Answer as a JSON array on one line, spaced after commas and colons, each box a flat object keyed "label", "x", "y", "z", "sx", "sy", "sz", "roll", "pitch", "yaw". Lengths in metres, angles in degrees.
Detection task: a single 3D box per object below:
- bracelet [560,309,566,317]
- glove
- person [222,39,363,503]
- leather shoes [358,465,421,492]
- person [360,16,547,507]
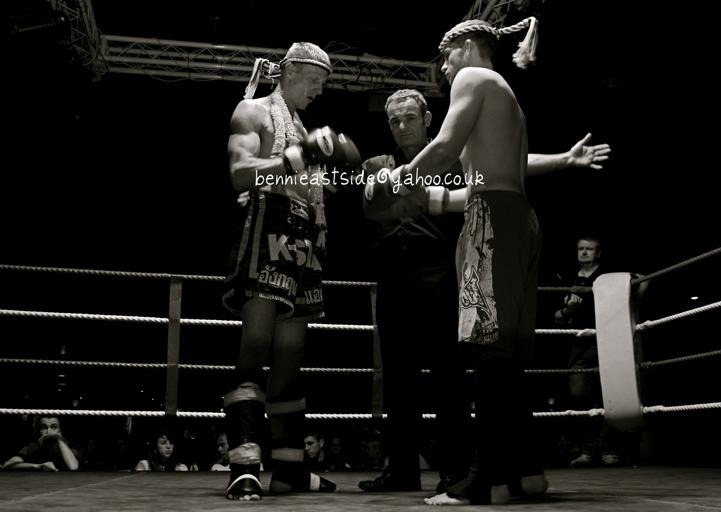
[{"label": "bracelet", "x": 1.809, "y": 0.502, "z": 6.611, "sx": 0.048, "sy": 0.046, "sz": 0.011, "roll": -3, "pitch": -3, "yaw": 41}, {"label": "glove", "x": 0.056, "y": -0.356, "z": 3.706, "sx": 0.611, "sy": 0.194, "sz": 0.573, "roll": 28, "pitch": -10, "yaw": -37}, {"label": "person", "x": -0.433, "y": 0.036, "z": 3.972, "sx": 0.580, "sy": 2.427, "sz": 0.712, "roll": 1, "pitch": -11, "yaw": -9}, {"label": "leather shoes", "x": 0.182, "y": 1.239, "z": 4.154, "sx": 0.372, "sy": 0.146, "sz": 0.130, "roll": 2, "pitch": -17, "yaw": 0}, {"label": "person", "x": 0.529, "y": 0.138, "z": 3.699, "sx": 0.904, "sy": 2.119, "sz": 0.451, "roll": 2, "pitch": -11, "yaw": -11}]
